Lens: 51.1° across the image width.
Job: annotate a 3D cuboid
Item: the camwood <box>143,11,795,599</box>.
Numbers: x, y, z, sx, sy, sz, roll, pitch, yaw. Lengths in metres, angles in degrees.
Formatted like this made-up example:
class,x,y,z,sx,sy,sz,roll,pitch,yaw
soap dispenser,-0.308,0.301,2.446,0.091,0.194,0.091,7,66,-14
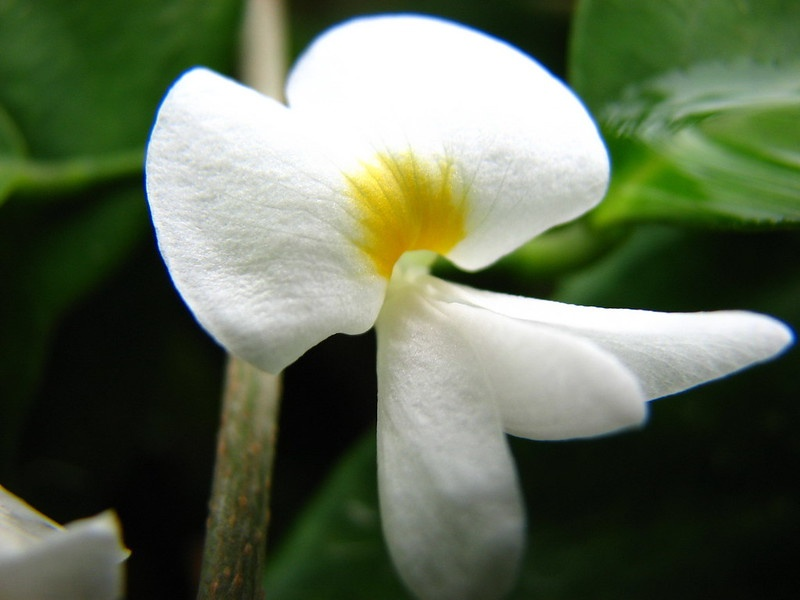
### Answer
class,x,y,z,sx,sy,sz,roll,pitch,yaw
camwood,0.029,0.006,0.484,0.311,0.253,0.235,31,51,34
